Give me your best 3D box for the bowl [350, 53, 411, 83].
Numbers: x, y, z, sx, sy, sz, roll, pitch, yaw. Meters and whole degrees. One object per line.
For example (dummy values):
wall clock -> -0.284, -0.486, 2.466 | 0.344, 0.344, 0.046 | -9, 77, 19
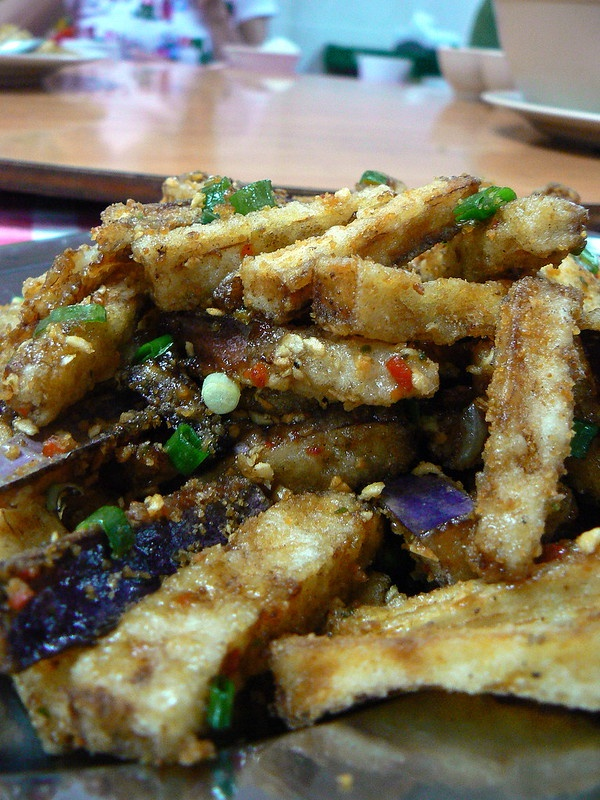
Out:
bowl -> 0.773, -2.921, 7.190 | 0.455, 0.258, 0.364 | -7, 33, -4

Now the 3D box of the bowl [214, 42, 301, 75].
bowl -> -0.240, -2.135, 5.069 | 0.572, 0.191, 0.375 | -2, 30, -6
